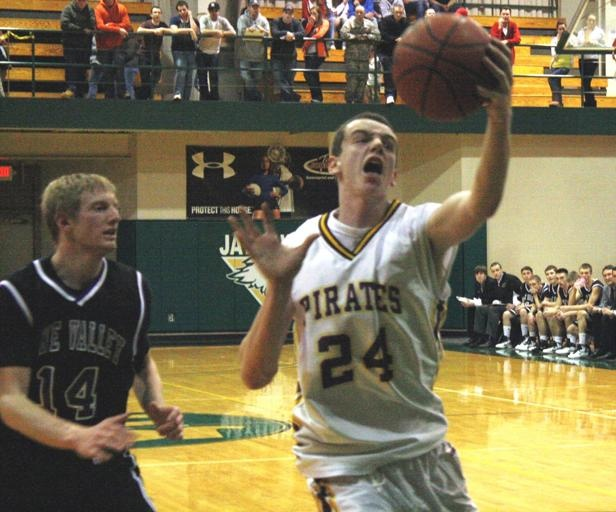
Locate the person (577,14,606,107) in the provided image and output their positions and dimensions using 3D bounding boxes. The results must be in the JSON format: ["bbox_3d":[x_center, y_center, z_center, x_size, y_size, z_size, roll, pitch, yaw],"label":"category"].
[{"bbox_3d":[4.772,-3.504,17.364,0.306,1.081,0.349,-25,40,-24],"label":"person"}]

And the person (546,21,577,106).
[{"bbox_3d":[4.397,-3.344,17.702,0.344,1.413,0.452,1,10,-13],"label":"person"}]
